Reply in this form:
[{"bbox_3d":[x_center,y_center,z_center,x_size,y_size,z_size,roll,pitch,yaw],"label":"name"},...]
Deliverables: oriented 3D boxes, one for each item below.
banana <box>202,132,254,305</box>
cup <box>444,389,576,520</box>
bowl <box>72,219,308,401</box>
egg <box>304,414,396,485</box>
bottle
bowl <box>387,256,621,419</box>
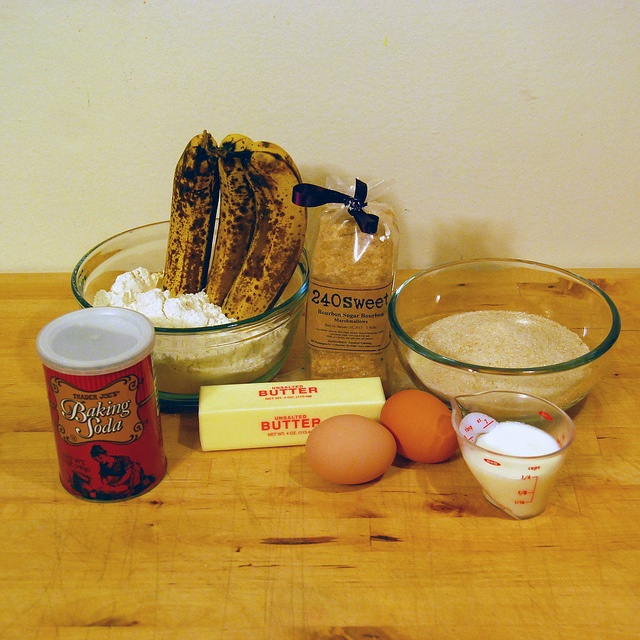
[{"bbox_3d":[-0.112,-0.121,0.917,0.066,0.231,0.084,14,28,-1],"label":"banana"},{"bbox_3d":[0.209,0.148,0.799,0.139,0.077,0.104,18,38,-3],"label":"cup"},{"bbox_3d":[-0.171,0.023,0.981,0.356,0.128,0.272,0,36,-2],"label":"bowl"},{"bbox_3d":[0.035,0.144,0.802,0.117,0.060,0.070,1,18,-1],"label":"egg"},{"bbox_3d":[-0.236,0.094,0.787,0.118,0.203,0.127,3,37,-2],"label":"bottle"},{"bbox_3d":[0.229,0.008,0.969,0.320,0.111,0.289,1,25,36],"label":"bowl"}]
